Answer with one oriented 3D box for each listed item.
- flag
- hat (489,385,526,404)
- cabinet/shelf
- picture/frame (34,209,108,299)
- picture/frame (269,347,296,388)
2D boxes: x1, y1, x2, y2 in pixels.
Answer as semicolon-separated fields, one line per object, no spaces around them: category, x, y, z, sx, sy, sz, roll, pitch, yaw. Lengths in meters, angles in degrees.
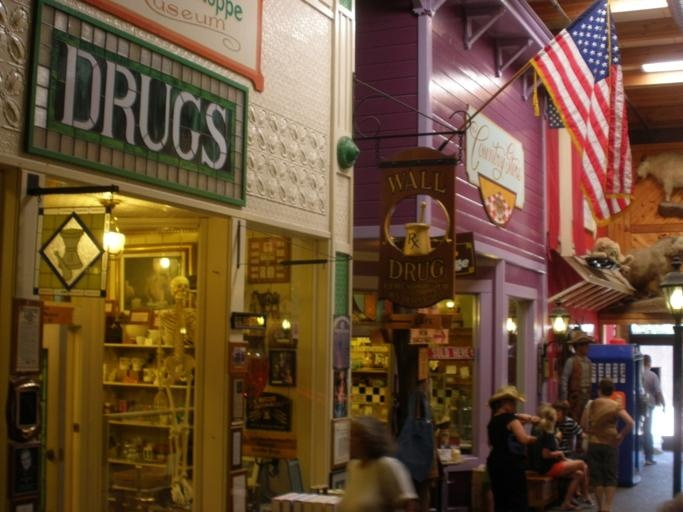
flag;3.656;-2.175;10.934;1.036;2.830;2.217;-7;-12;27
hat;2.323;1.857;10.117;0.425;0.270;0.582;-5;-10;26
cabinet/shelf;-2.231;1.687;8.503;1.247;1.407;0.442;-7;-12;26
picture/frame;-2.282;-0.017;6.215;0.659;0.916;0.057;0;-6;-3
picture/frame;-0.747;1.416;9.416;0.421;0.688;0.427;0;-3;-1
